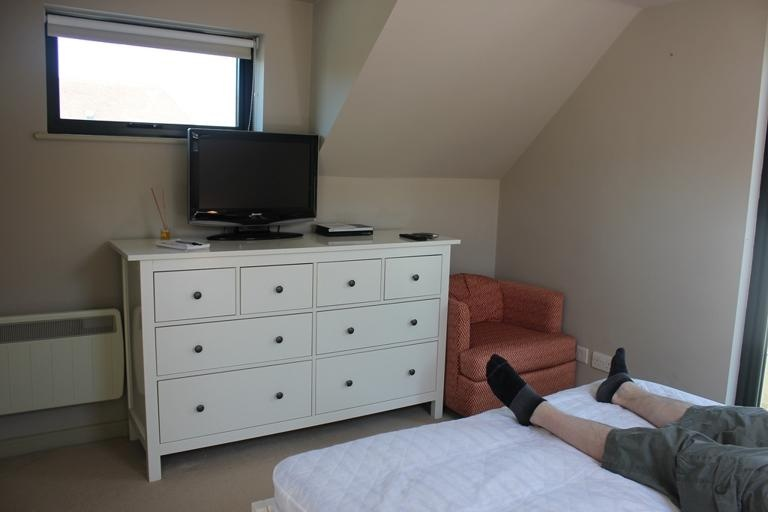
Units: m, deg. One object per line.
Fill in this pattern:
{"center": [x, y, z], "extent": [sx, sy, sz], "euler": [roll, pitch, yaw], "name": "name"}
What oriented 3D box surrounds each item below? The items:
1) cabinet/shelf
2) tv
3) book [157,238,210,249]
{"center": [-0.671, 0.580, 3.247], "extent": [1.339, 0.870, 0.486], "euler": [-4, 7, -31], "name": "cabinet/shelf"}
{"center": [-0.867, -0.464, 3.511], "extent": [0.706, 0.585, 0.191], "euler": [-2, 7, -28], "name": "tv"}
{"center": [-1.188, -0.067, 3.174], "extent": [0.368, 0.048, 0.144], "euler": [5, 9, 30], "name": "book"}
